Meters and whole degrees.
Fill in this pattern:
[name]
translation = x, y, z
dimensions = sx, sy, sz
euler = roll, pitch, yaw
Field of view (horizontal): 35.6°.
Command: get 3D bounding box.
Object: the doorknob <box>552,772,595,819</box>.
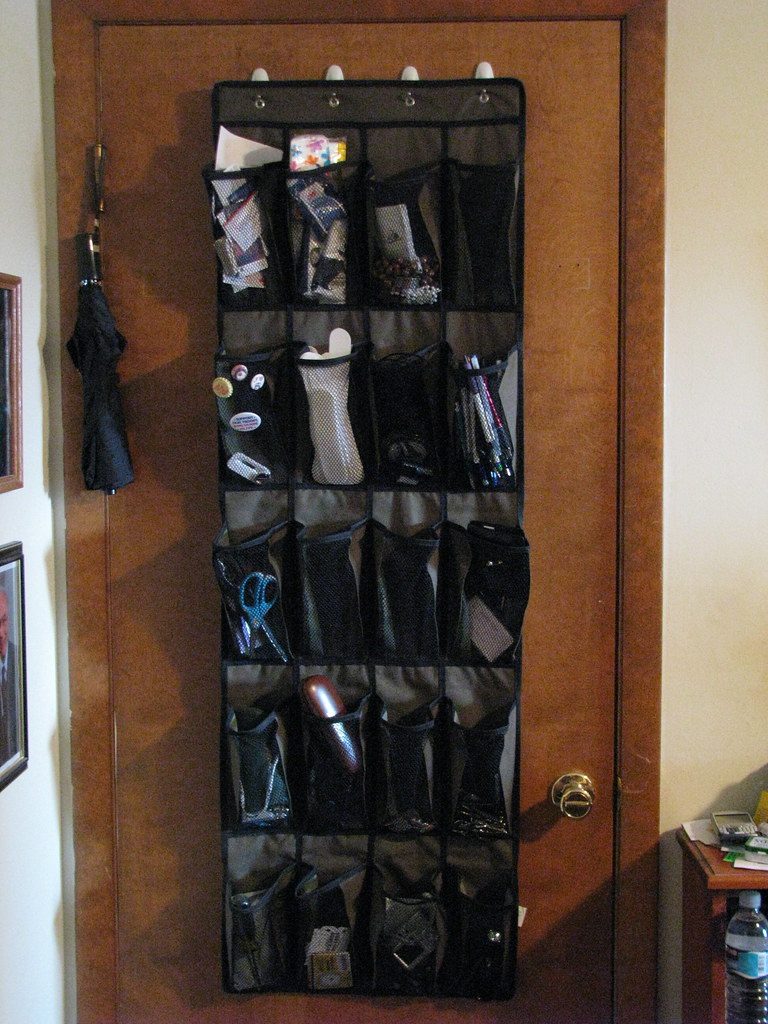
[doorknob]
translation = 0.299, 0.454, 1.885
dimensions = 0.070, 0.072, 0.066
euler = -2, 5, 7

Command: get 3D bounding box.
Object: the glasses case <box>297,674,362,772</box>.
[glasses case]
translation = -0.077, 0.311, 1.790
dimensions = 0.050, 0.193, 0.053
euler = -18, 4, 25

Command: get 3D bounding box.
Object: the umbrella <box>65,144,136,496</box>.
[umbrella]
translation = -0.442, -0.296, 1.846
dimensions = 0.091, 0.537, 0.087
euler = -3, 5, -15
